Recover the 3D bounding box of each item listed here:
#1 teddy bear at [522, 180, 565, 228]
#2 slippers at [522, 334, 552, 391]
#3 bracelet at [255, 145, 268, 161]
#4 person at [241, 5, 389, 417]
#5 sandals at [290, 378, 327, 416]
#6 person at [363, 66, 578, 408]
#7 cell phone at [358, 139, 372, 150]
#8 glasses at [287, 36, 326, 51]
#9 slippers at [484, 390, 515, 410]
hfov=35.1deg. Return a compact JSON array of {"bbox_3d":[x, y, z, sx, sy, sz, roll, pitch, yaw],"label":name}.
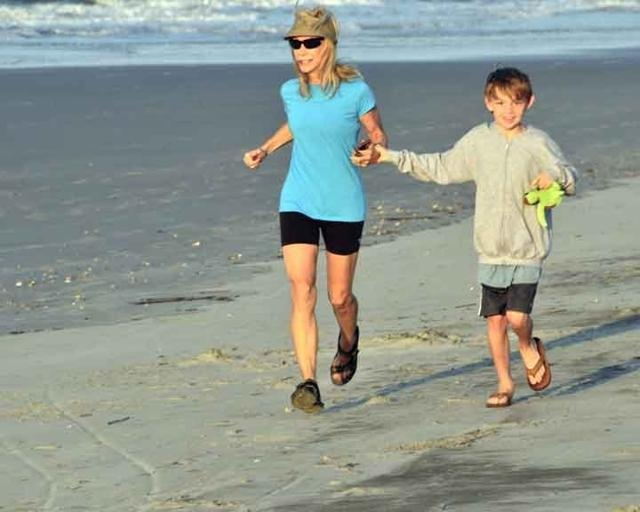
[{"bbox_3d":[1.489,-0.327,6.596,0.251,0.339,0.218,6,20,33],"label":"teddy bear"},{"bbox_3d":[1.549,0.753,7.069,0.165,0.370,0.116,-27,-30,34],"label":"slippers"},{"bbox_3d":[-0.415,-0.769,7.594,0.052,0.110,0.098,12,-14,-43],"label":"bracelet"},{"bbox_3d":[0.047,-0.372,7.171,1.087,2.664,1.016,0,4,2],"label":"person"},{"bbox_3d":[-0.076,0.982,6.956,0.212,0.274,0.234,-5,16,2],"label":"sandals"},{"bbox_3d":[1.157,-0.099,6.850,1.152,2.299,0.610,-1,18,16],"label":"person"},{"bbox_3d":[0.289,-0.742,6.853,0.089,0.031,0.083,-25,17,28],"label":"cell phone"},{"bbox_3d":[-0.097,-1.475,7.015,0.274,0.087,0.136,0,16,15],"label":"glasses"},{"bbox_3d":[1.224,0.981,6.902,0.102,0.048,0.180,0,0,41],"label":"slippers"}]
